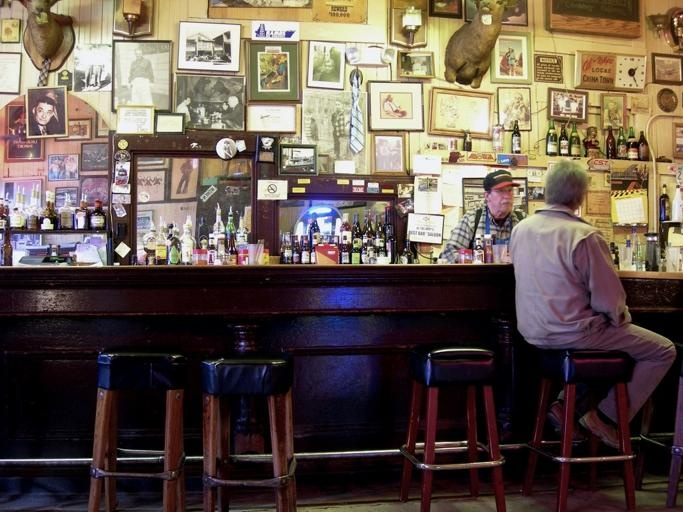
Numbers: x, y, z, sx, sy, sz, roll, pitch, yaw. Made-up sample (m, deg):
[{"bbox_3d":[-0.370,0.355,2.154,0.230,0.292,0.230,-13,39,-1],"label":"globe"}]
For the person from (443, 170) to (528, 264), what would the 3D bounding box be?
[{"bbox_3d":[1.146,-0.307,6.226,0.745,1.003,0.533,3,0,-5],"label":"person"}]

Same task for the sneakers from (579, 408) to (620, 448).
[{"bbox_3d":[1.825,1.181,5.199,0.174,0.221,0.493,15,-3,30],"label":"sneakers"}]

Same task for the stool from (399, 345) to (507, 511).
[{"bbox_3d":[0.740,1.098,4.990,0.709,1.110,0.717,0,5,-2],"label":"stool"}]

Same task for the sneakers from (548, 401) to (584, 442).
[{"bbox_3d":[1.511,1.093,5.073,0.099,0.205,0.317,-34,-40,28],"label":"sneakers"}]

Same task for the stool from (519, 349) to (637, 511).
[{"bbox_3d":[1.579,1.114,5.017,0.711,1.073,0.570,2,5,21],"label":"stool"}]
